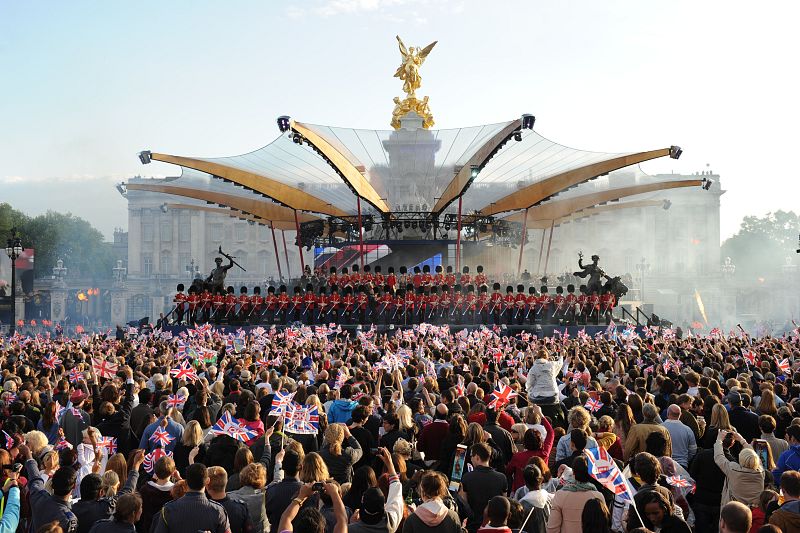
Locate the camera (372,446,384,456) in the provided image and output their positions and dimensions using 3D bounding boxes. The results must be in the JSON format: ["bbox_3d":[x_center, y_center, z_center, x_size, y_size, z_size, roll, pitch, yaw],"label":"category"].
[{"bbox_3d":[-0.386,3.431,17.827,0.311,0.131,0.417,1,-7,3],"label":"camera"}]

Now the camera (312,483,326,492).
[{"bbox_3d":[-1.391,3.828,16.714,0.202,0.215,0.206,1,2,9],"label":"camera"}]

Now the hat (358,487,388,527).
[{"bbox_3d":[-0.461,4.143,16.466,0.428,0.308,0.622,4,25,-4],"label":"hat"}]
